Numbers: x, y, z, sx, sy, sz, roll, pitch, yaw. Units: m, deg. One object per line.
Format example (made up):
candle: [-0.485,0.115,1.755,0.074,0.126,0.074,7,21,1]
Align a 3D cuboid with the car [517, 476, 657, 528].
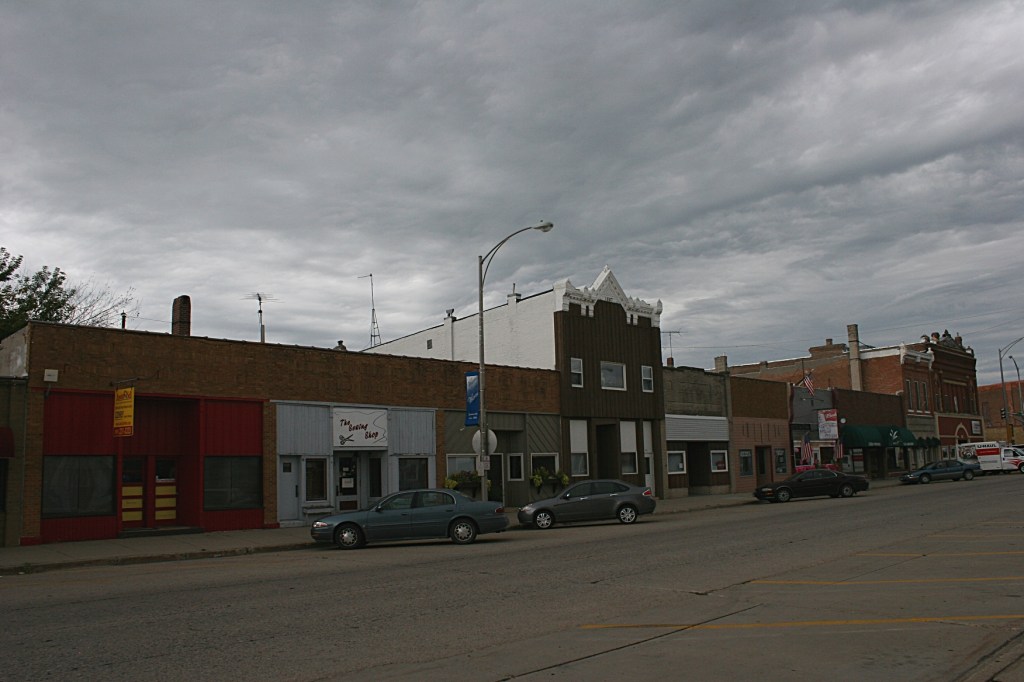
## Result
car: [2.958,5.858,30.141,4.290,1.339,1.988,0,-8,-4]

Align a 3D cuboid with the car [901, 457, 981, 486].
car: [28.566,8.587,54.745,5.133,1.535,1.526,-2,-14,-8]

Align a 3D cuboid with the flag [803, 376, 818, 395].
flag: [21.572,3.161,59.766,0.669,1.366,4.135,-9,-15,20]

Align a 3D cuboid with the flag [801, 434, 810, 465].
flag: [20.458,7.488,57.175,0.524,1.873,1.189,-11,-15,29]

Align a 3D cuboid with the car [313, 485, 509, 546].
car: [-3.110,5.357,25.118,5.457,1.486,2.213,2,-9,-10]

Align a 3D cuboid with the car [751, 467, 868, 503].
car: [14.970,7.146,41.180,5.602,1.538,1.167,0,-14,-16]

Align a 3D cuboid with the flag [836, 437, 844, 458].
flag: [24.228,7.950,60.928,0.253,1.496,2.226,-12,-16,31]
